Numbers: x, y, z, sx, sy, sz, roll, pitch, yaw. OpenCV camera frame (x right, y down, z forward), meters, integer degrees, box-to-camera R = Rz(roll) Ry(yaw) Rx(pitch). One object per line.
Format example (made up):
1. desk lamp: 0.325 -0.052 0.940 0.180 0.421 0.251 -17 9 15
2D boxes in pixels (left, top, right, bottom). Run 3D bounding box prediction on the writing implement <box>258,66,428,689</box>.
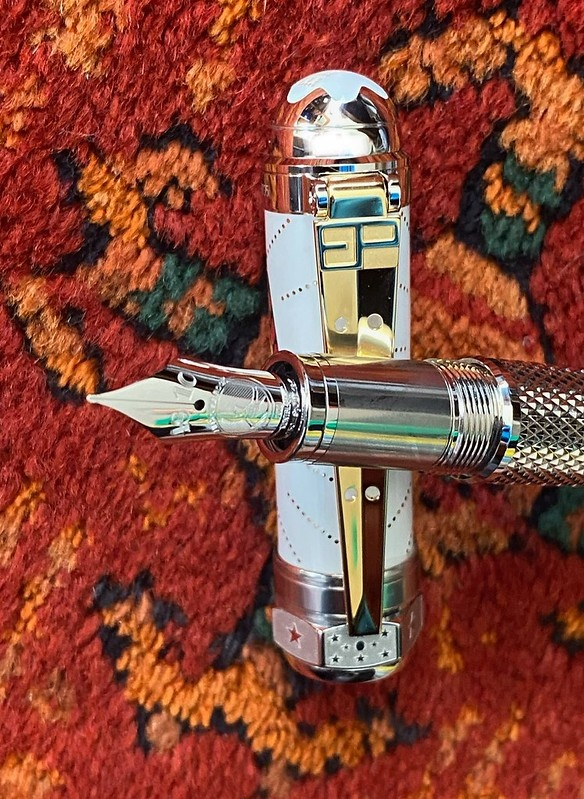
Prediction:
1. writing implement: 0.018 0.008 0.348 0.060 0.067 0.240 -5 104 -7
